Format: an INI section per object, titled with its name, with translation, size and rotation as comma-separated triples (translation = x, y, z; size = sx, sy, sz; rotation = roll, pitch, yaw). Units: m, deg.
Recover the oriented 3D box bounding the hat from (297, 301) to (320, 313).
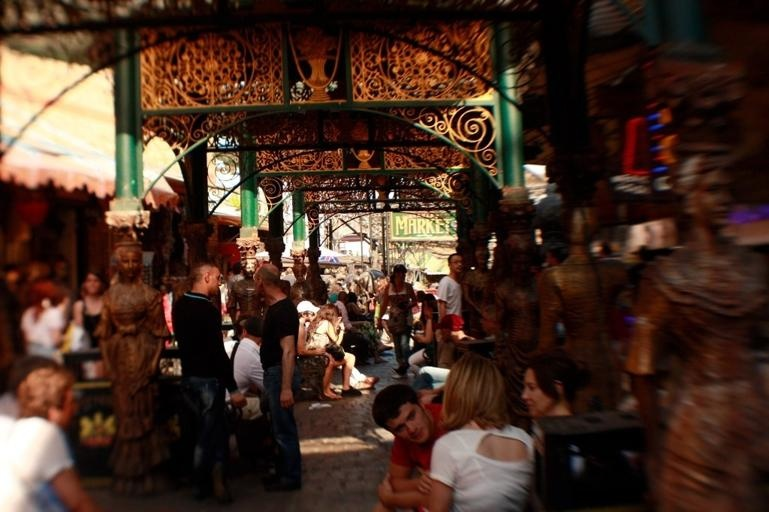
[hat]
translation = -1.422, 0.948, 10.641
size = 0.374, 0.166, 0.245
rotation = -4, 1, 20
